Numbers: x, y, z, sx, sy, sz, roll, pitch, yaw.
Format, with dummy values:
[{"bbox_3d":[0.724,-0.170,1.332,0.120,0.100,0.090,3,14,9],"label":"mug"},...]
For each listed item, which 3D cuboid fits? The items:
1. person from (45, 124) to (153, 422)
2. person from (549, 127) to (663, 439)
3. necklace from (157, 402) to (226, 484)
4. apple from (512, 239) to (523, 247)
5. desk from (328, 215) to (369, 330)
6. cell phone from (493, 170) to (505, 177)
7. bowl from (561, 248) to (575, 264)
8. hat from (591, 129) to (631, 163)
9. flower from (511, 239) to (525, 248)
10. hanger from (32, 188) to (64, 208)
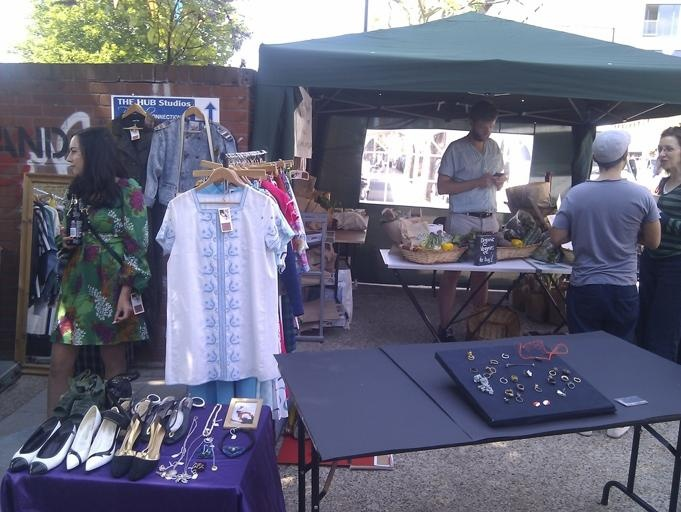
[{"bbox_3d":[-1.812,0.291,4.309,0.788,2.353,0.659,7,11,10],"label":"person"},{"bbox_3d":[2.006,0.159,4.514,0.704,2.172,0.656,-1,14,11],"label":"person"},{"bbox_3d":[-0.770,0.975,2.982,0.144,0.019,0.384,4,24,4],"label":"necklace"},{"bbox_3d":[1.604,-0.124,5.275,0.060,0.056,0.087,-4,10,3],"label":"apple"},{"bbox_3d":[0.060,0.049,6.611,0.476,1.110,0.895,2,15,-1],"label":"desk"},{"bbox_3d":[1.462,-0.780,5.366,0.100,0.029,0.110,2,14,20],"label":"cell phone"},{"bbox_3d":[1.945,-0.007,4.981,0.104,0.108,0.185,7,-5,22],"label":"bowl"},{"bbox_3d":[1.929,-0.786,4.162,0.238,0.233,0.182,5,13,29],"label":"hat"},{"bbox_3d":[1.612,-0.124,5.285,0.142,0.065,0.144,-3,12,-3],"label":"flower"},{"bbox_3d":[-2.555,-0.525,5.077,0.173,0.102,0.061,11,6,-22],"label":"hanger"}]
